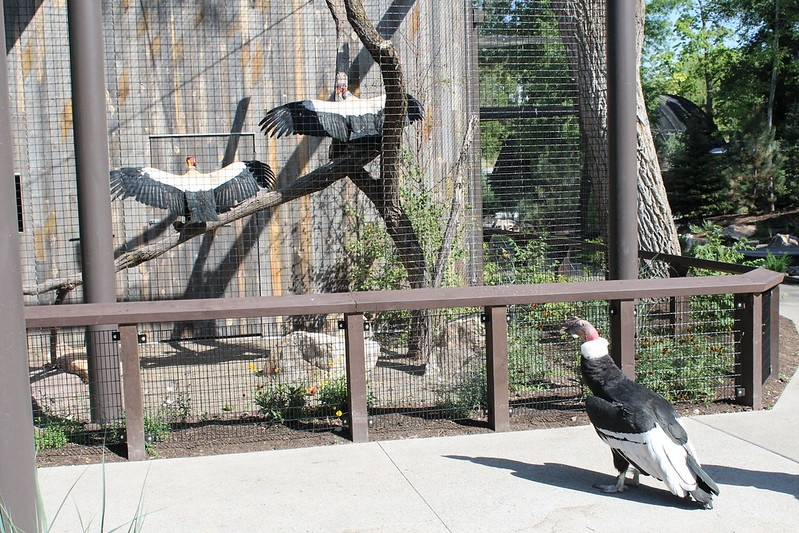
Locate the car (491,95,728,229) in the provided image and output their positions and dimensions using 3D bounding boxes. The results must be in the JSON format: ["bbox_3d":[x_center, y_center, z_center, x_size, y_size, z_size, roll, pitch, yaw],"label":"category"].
[{"bbox_3d":[3.875,-1.816,22.795,4.294,1.257,3.777,9,3,10],"label":"car"}]

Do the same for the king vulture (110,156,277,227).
[{"bbox_3d":[-3.115,-1.250,18.370,2.138,0.781,1.039,-2,20,-16],"label":"king vulture"}]
